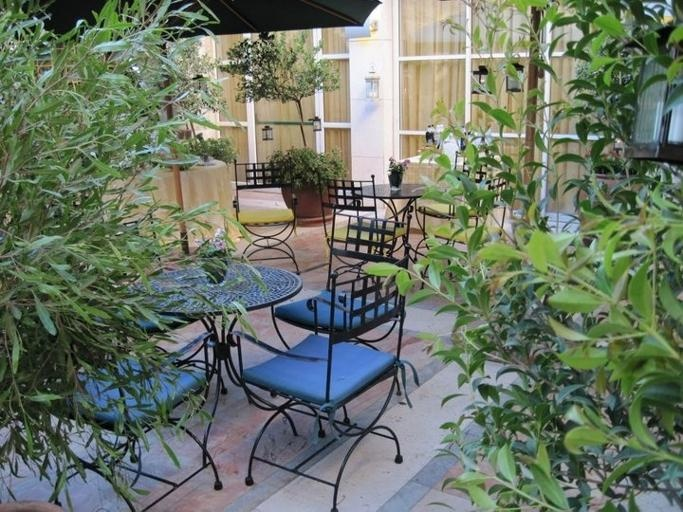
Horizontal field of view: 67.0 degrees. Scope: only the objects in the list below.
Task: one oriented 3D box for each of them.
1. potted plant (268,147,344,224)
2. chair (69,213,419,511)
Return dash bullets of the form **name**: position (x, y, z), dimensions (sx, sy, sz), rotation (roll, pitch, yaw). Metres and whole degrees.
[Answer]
- **potted plant**: position (-0.511, -1.064, 8.061), dimensions (1.189, 1.120, 1.089), rotation (0, 23, -9)
- **chair**: position (-0.073, 0.507, 2.775), dimensions (0.841, 1.126, 1.239), rotation (0, 13, 8)
